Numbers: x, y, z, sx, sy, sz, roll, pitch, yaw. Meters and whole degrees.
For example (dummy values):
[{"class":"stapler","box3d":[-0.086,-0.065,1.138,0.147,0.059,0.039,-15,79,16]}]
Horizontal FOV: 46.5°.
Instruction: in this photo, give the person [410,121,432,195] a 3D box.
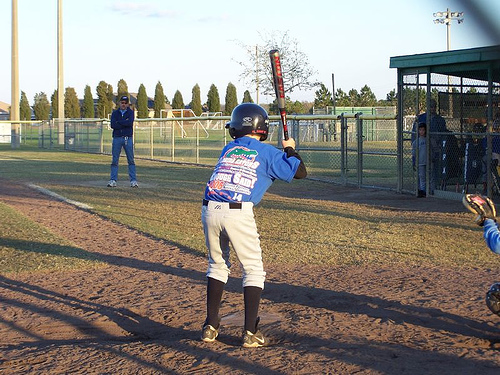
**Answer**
[{"class":"person","box3d":[3.790,-0.655,12.885,0.396,1.623,0.787,2,8,14]}]

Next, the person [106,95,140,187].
[{"class":"person","box3d":[-3.150,-1.111,14.375,0.727,2.246,0.886,-2,8,-17]}]

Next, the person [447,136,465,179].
[{"class":"person","box3d":[4.620,-0.697,13.103,0.326,0.938,0.616,3,9,22]}]

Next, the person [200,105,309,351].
[{"class":"person","box3d":[0.005,0.296,4.880,0.785,1.955,0.646,0,8,2]}]

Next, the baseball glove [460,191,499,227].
[{"class":"baseball glove","box3d":[1.927,0.189,4.872,0.235,0.298,0.397,4,9,28]}]

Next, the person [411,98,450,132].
[{"class":"person","box3d":[3.984,-1.607,12.833,0.714,0.734,0.786,2,8,15]}]
